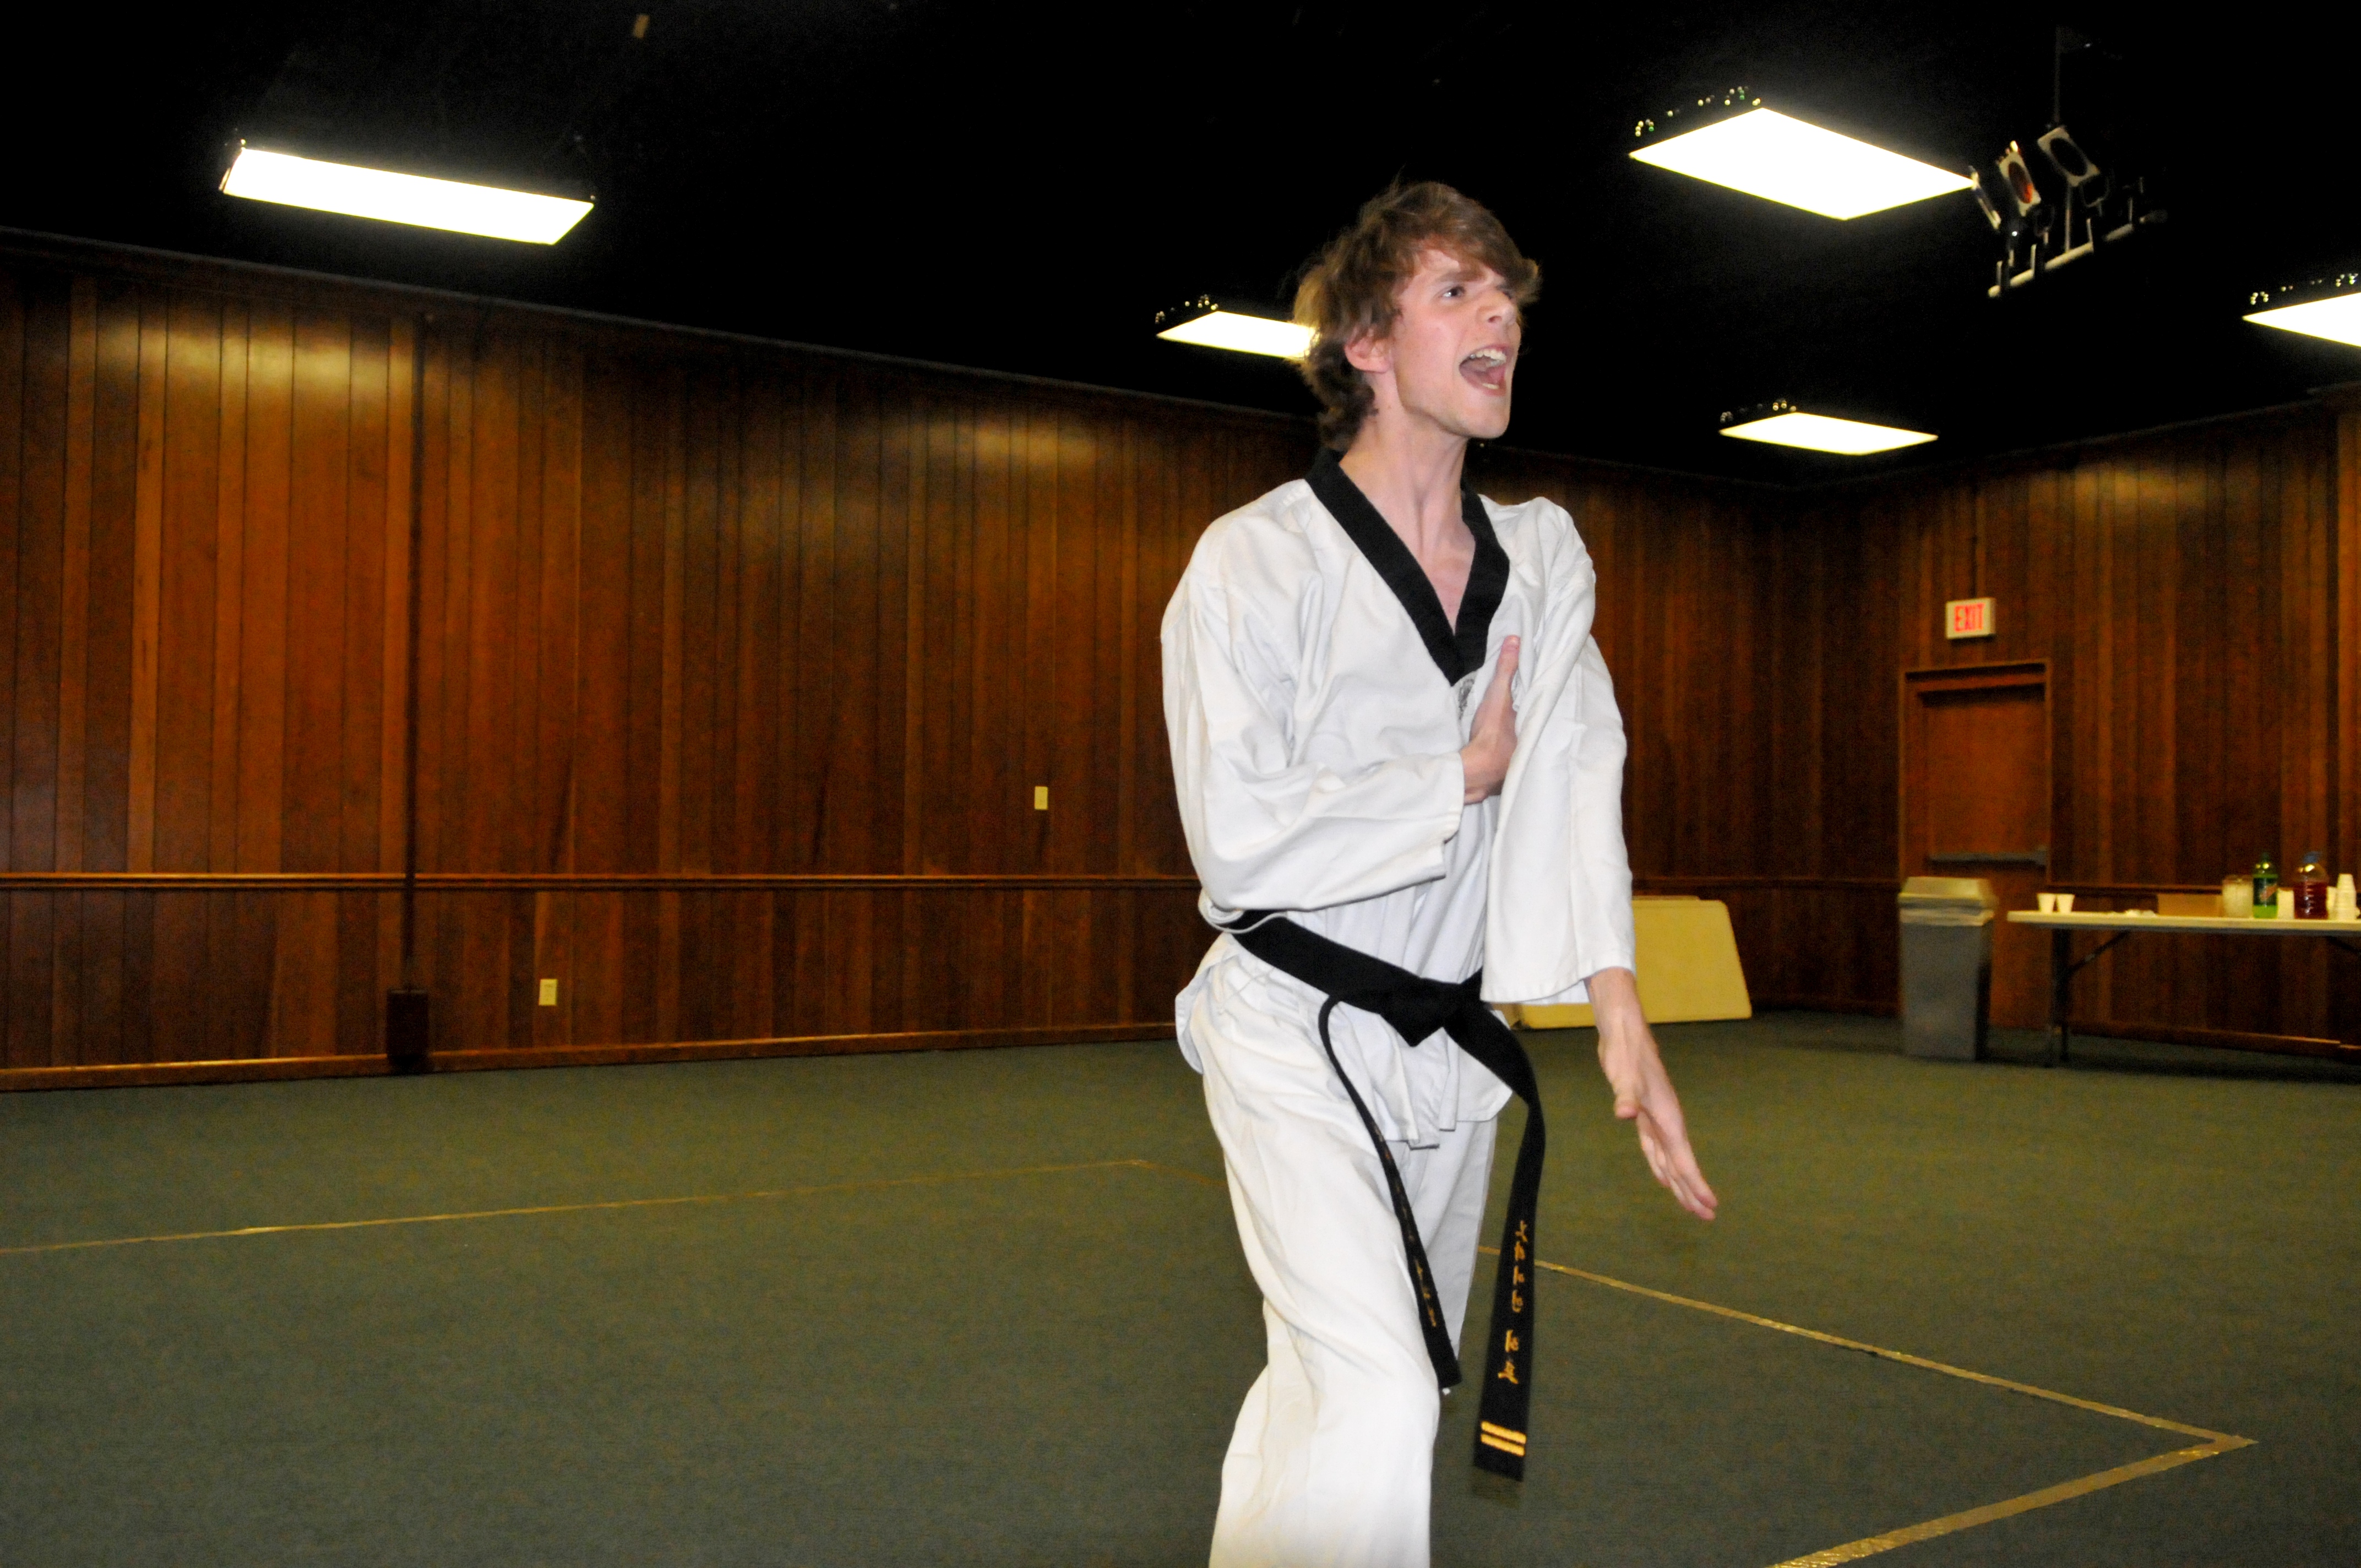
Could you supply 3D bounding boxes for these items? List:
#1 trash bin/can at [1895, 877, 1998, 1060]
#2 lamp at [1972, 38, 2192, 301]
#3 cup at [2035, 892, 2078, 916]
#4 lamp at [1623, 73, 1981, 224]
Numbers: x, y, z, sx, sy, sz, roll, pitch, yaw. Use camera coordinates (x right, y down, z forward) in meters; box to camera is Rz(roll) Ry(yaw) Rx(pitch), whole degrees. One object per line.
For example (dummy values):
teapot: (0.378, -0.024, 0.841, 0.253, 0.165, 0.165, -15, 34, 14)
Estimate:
trash bin/can: (4.598, 1.102, 9.982, 0.490, 1.034, 0.479, 2, 4, 24)
lamp: (3.944, -2.692, 7.364, 0.798, 0.908, 0.788, -4, 3, -27)
cup: (5.322, 0.715, 10.068, 0.121, 0.084, 0.120, 1, -14, 0)
lamp: (2.698, -2.766, 7.293, 1.482, 0.241, 0.629, -1, 4, -25)
